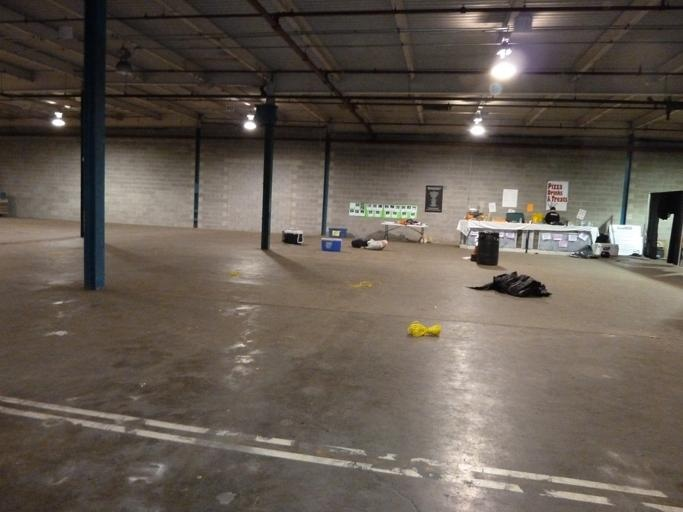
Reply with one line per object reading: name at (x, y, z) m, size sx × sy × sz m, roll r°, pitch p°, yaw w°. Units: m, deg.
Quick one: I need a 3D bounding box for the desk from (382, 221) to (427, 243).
desk at (2.336, -0.945, 18.006) m, size 1.627 × 0.761 × 0.888 m, roll 5°, pitch 12°, yaw 10°

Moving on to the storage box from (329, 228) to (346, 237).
storage box at (-0.140, -0.904, 18.245) m, size 0.636 × 0.361 × 0.414 m, roll 2°, pitch 5°, yaw 6°

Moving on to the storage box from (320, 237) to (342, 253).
storage box at (-0.316, -0.322, 13.494) m, size 0.588 × 0.347 × 0.436 m, roll 4°, pitch 12°, yaw 7°

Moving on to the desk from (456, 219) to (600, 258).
desk at (6.011, -0.599, 15.494) m, size 3.941 × 0.951 × 0.637 m, roll 6°, pitch 13°, yaw 15°
